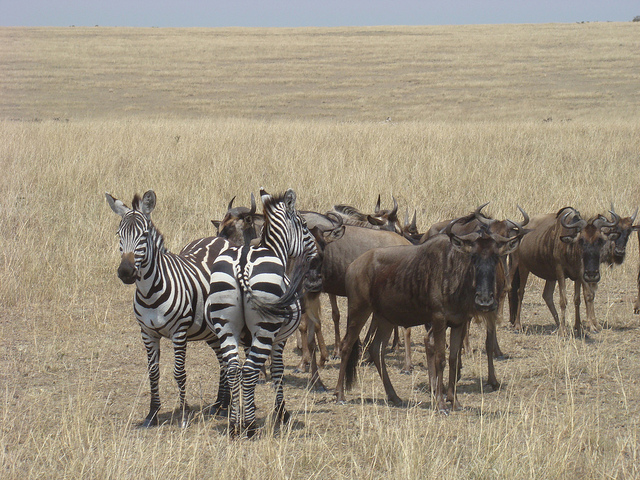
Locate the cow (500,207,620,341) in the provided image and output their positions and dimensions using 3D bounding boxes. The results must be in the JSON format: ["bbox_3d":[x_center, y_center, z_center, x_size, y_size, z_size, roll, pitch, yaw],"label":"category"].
[{"bbox_3d":[5.765,0.796,23.211,1.141,3.108,4.588,-3,0,-10],"label":"cow"}]

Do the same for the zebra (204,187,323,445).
[{"bbox_3d":[-1.037,1.254,18.900,1.848,4.472,2.707,1,12,11],"label":"zebra"}]
